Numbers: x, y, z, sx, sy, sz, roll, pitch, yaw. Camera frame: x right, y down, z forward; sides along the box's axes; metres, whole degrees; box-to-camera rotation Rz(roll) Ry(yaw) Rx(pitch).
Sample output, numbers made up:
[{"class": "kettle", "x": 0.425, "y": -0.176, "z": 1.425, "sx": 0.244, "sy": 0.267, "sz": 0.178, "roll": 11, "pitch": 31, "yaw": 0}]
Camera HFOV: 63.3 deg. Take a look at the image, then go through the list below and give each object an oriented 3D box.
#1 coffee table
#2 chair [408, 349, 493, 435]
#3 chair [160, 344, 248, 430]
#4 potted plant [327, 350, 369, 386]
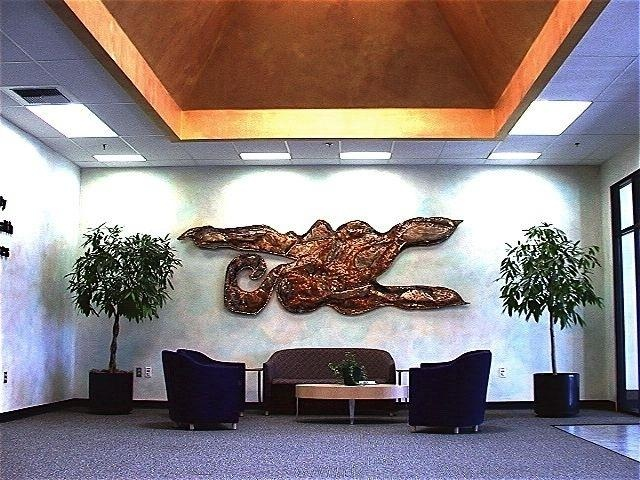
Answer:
[{"class": "coffee table", "x": 0.558, "y": 2.343, "z": 7.501, "sx": 1.314, "sy": 0.581, "sz": 1.199, "roll": -6, "pitch": -12, "yaw": 34}, {"class": "chair", "x": 1.735, "y": 2.031, "z": 6.997, "sx": 1.181, "sy": 0.862, "sz": 0.810, "roll": -5, "pitch": -22, "yaw": 12}, {"class": "chair", "x": -1.441, "y": 2.067, "z": 7.297, "sx": 1.486, "sy": 0.831, "sz": 1.250, "roll": 1, "pitch": -14, "yaw": 2}, {"class": "potted plant", "x": 0.482, "y": 1.893, "z": 7.563, "sx": 0.513, "sy": 0.325, "sz": 0.406, "roll": 3, "pitch": -16, "yaw": -31}]
